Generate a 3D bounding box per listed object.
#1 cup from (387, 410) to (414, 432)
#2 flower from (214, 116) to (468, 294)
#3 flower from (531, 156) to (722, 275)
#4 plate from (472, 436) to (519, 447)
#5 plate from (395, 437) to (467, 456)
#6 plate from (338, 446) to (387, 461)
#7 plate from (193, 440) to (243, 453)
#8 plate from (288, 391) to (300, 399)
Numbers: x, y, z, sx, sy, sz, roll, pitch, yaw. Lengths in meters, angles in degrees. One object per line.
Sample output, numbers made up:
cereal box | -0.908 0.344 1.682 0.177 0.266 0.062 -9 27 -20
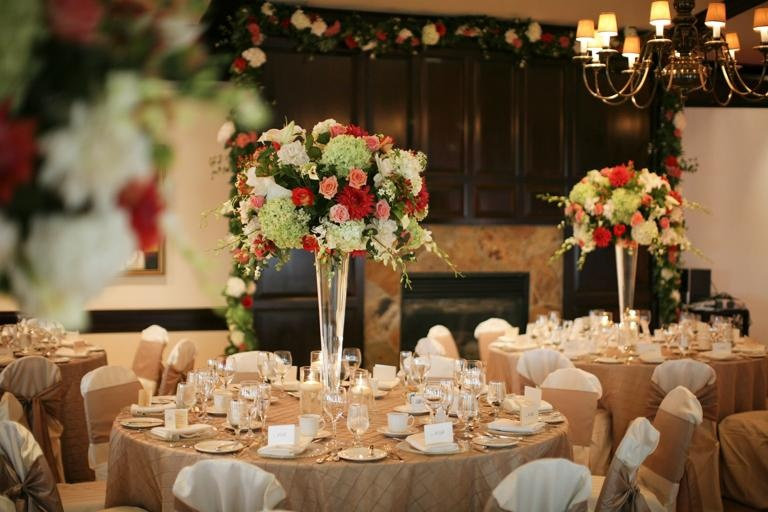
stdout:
cup | 0.076 0.702 2.906 0.106 0.081 0.069 7 -11 -28
flower | -0.129 -0.288 2.949 0.624 0.396 0.570 -17 14 -2
flower | 1.871 -0.300 5.469 1.125 0.890 1.170 0 -5 34
plate | 0.451 0.757 2.790 0.183 0.029 0.131 -1 -6 11
plate | 0.188 0.754 2.723 0.285 0.044 0.154 0 -5 0
plate | -0.078 0.755 2.622 0.199 0.035 0.141 1 -6 -11
plate | -0.635 0.743 2.665 0.197 0.035 0.122 0 -5 1
plate | -0.460 0.719 3.573 0.053 0.015 0.056 3 -5 -24
